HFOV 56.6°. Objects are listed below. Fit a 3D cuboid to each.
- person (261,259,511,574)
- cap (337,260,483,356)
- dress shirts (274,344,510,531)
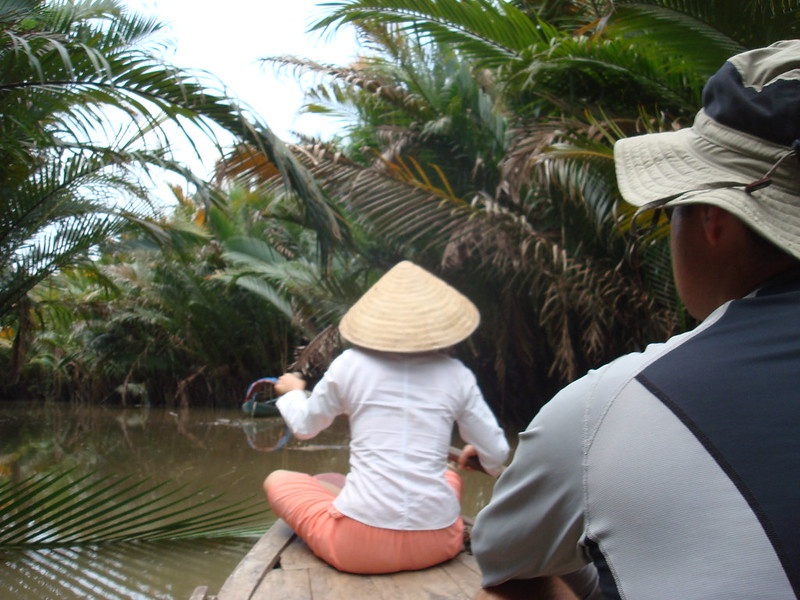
[{"bbox_3d":[-0.078,0.493,3.347,1.115,1.298,0.975,3,0,26],"label":"person"},{"bbox_3d":[0.043,0.062,3.035,0.418,0.193,0.438,-3,24,1],"label":"cap"},{"bbox_3d":[-0.006,0.540,3.203,0.859,1.102,0.677,1,-3,-6],"label":"dress shirts"}]
